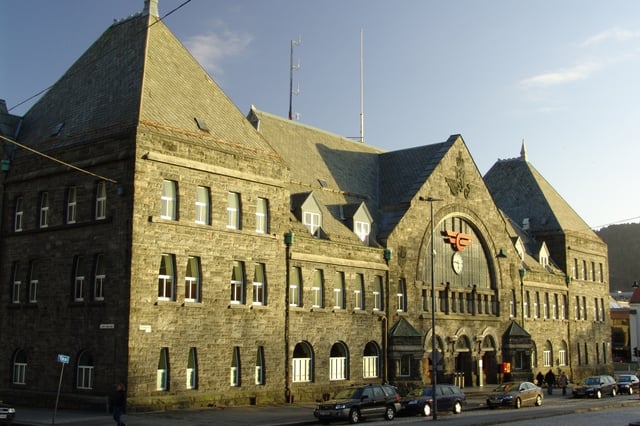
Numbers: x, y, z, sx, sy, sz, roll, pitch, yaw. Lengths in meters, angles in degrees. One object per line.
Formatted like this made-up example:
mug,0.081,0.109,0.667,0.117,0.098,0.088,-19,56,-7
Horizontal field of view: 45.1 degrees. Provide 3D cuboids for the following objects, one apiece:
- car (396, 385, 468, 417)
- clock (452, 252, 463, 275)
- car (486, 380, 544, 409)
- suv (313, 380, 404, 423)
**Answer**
car,7.880,13.265,54.177,5.207,2.253,1.476,9,-23,-33
clock,12.608,4.692,71.038,0.638,1.906,1.657,-14,-22,26
car,14.649,13.898,58.421,5.451,2.072,1.331,11,-25,-37
suv,2.386,12.423,50.173,2.420,1.974,5.262,-16,-24,41
